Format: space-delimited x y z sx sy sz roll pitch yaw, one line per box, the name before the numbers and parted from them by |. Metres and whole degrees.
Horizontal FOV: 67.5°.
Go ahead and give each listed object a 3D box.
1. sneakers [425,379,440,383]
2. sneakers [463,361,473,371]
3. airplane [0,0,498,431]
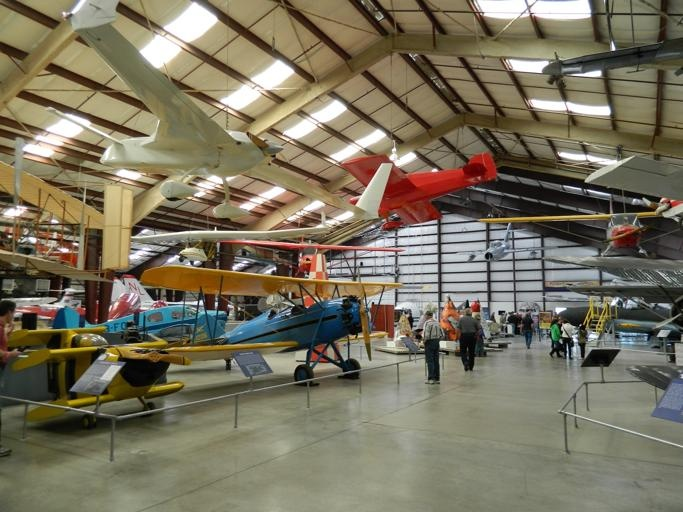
sneakers | 1.838 2.552 10.355 0.331 0.081 0.084 2 -2 11
sneakers | 2.974 2.591 11.977 0.273 0.154 0.088 -3 -9 18
airplane | -1.607 -0.047 9.960 4.104 5.558 9.391 -5 -10 41
